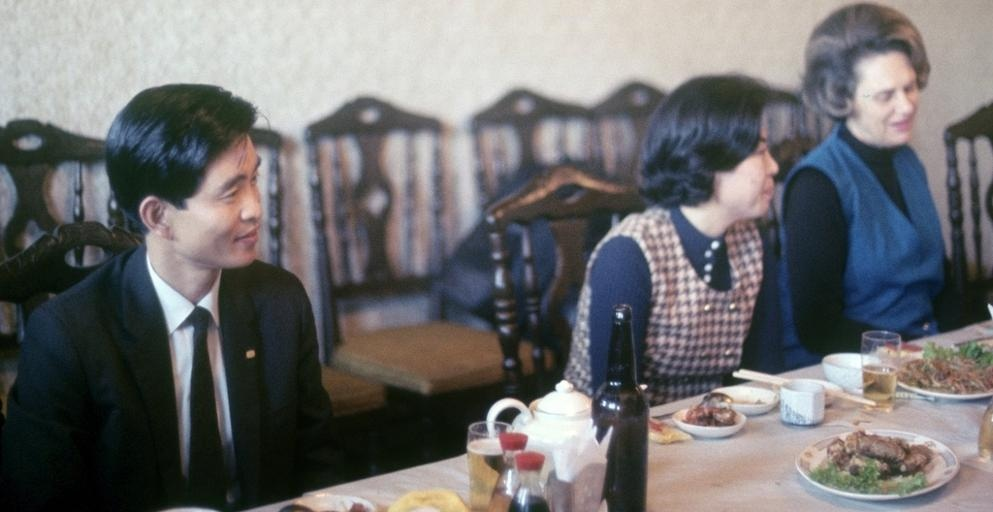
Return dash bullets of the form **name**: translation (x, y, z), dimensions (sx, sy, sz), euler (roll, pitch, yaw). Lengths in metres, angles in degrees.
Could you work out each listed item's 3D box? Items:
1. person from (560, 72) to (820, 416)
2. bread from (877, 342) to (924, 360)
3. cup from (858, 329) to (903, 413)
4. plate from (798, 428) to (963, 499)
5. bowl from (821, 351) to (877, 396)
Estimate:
- **person**: translation (0.911, -0.004, 4.716), dimensions (1.067, 1.889, 1.362), euler (3, 2, -20)
- **bread**: translation (1.815, 0.430, 3.598), dimensions (0.275, 0.056, 0.157), euler (8, -1, -34)
- **cup**: translation (1.621, 0.470, 3.397), dimensions (0.136, 0.354, 0.169), euler (5, 3, 27)
- **plate**: translation (1.450, 0.770, 3.021), dimensions (0.626, 0.231, 0.288), euler (2, 6, 7)
- **bowl**: translation (1.514, 0.513, 3.481), dimensions (0.189, 0.105, 0.177), euler (0, -1, 0)
